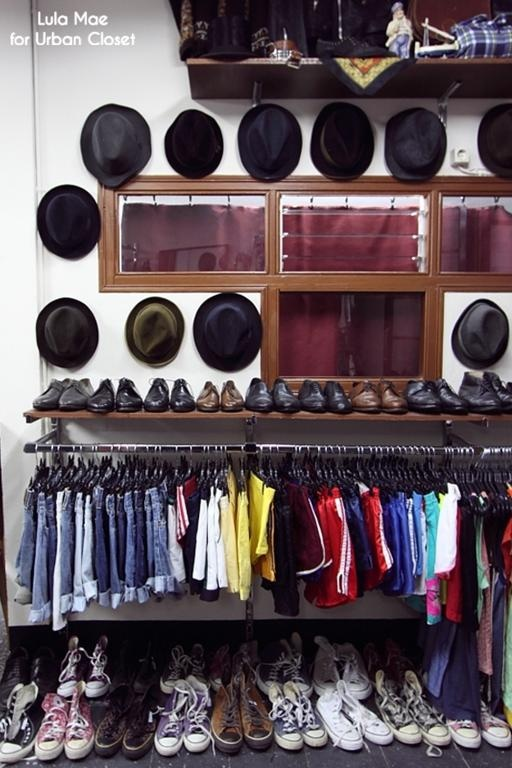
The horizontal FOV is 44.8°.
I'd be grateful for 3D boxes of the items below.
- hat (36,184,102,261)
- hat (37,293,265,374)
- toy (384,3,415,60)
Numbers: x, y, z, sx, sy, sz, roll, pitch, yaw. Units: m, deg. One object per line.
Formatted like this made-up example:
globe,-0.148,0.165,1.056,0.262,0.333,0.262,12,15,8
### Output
hat,-0.821,-0.712,2.688,0.280,0.263,0.167,-3,-1,-11
hat,-0.432,-0.225,2.885,0.780,0.367,0.174,-2,-5,-1
toy,0.581,-1.441,2.530,0.100,0.237,0.113,-3,-1,13
